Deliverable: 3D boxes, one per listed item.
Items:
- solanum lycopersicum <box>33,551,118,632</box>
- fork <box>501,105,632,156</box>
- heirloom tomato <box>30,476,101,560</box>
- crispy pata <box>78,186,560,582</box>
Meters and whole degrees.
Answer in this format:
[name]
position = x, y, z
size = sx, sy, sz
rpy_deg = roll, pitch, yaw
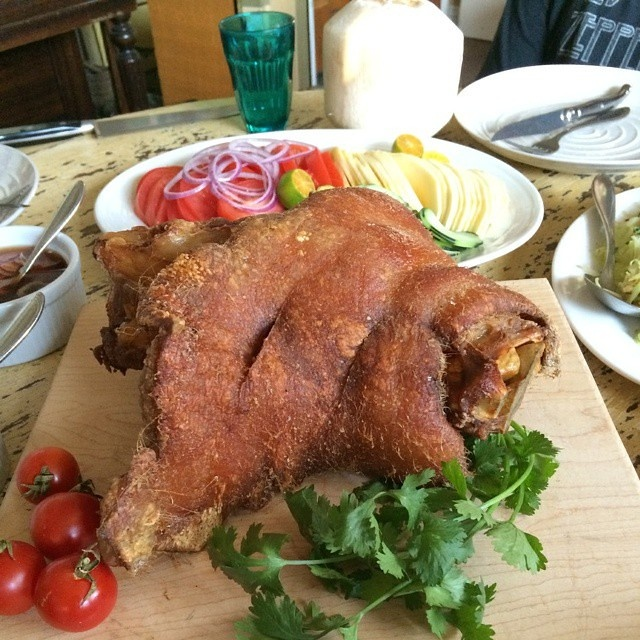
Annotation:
[solanum lycopersicum]
position = -0.299, 0.323, 0.793
size = 0.087, 0.084, 0.081
rpy_deg = -9, 46, -8
[fork]
position = 0.681, -0.509, 1.785
size = 0.507, 0.067, 0.075
rpy_deg = -16, 53, -18
[heirloom tomato]
position = -0.346, 0.267, 0.890
size = 0.099, 0.081, 0.086
rpy_deg = -9, 52, 1
[crispy pata]
position = 0.053, 0.085, 0.953
size = 0.661, 0.215, 0.445
rpy_deg = -5, 56, -6
